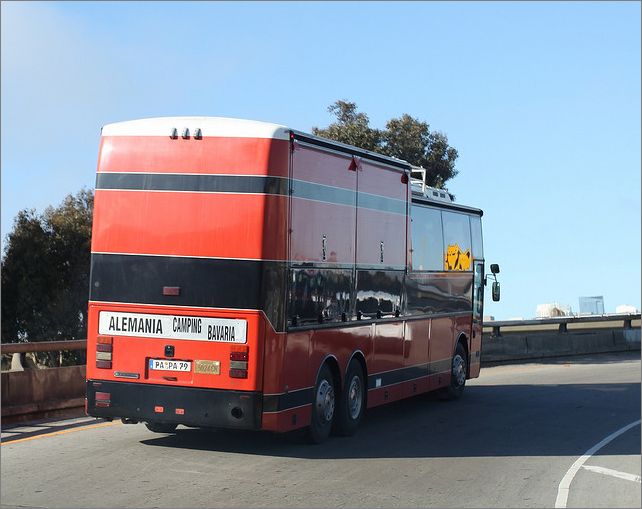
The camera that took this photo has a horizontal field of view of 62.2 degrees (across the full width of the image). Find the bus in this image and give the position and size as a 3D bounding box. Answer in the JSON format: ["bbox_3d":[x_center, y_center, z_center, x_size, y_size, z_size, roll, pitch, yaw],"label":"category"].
[{"bbox_3d":[0.333,0.469,12.266,3.771,6.430,11.802,0,0,28],"label":"bus"}]
